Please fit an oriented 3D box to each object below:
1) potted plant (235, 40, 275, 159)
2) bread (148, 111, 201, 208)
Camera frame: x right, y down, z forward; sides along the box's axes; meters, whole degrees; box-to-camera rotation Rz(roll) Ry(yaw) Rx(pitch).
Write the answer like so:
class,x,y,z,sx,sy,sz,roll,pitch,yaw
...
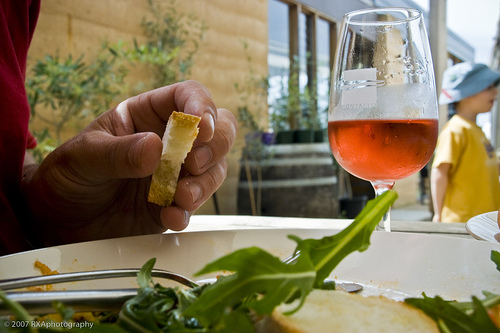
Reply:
class,x,y,z,sx,sy,sz,roll,pitch,yaw
potted plant,0.043,-0.540,3.374,0.321,0.940,0.881,1,3,0
bread,-0.138,0.005,0.795,0.060,0.213,0.053,17,33,-2
